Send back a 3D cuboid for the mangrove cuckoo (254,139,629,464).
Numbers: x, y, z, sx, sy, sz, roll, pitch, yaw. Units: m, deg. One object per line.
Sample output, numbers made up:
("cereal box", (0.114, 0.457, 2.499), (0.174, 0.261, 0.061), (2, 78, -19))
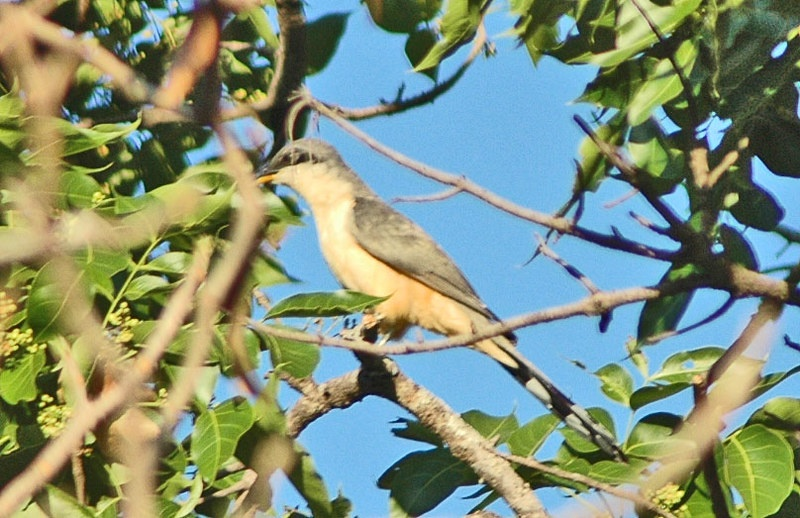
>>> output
("mangrove cuckoo", (0.112, 0.072, 5.298), (1.580, 0.444, 0.858), (14, -101, -14))
